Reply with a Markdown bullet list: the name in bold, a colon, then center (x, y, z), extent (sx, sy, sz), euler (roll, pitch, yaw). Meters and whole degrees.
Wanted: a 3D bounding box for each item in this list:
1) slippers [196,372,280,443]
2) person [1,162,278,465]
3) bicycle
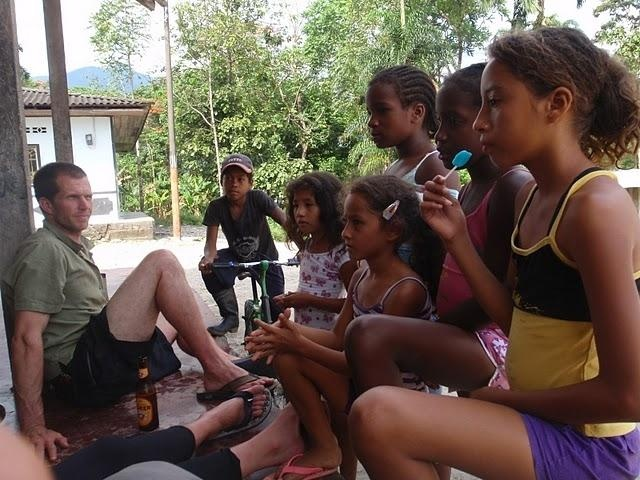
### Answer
- **slippers**: center (-0.386, 0.833, 2.445), extent (0.298, 0.071, 0.221), euler (-18, 18, -8)
- **person**: center (-1.207, 0.216, 2.882), extent (1.554, 1.226, 1.155), euler (-8, 8, -23)
- **bicycle**: center (-0.514, 0.457, 3.923), extent (0.553, 0.525, 0.836), euler (-2, -11, -10)
